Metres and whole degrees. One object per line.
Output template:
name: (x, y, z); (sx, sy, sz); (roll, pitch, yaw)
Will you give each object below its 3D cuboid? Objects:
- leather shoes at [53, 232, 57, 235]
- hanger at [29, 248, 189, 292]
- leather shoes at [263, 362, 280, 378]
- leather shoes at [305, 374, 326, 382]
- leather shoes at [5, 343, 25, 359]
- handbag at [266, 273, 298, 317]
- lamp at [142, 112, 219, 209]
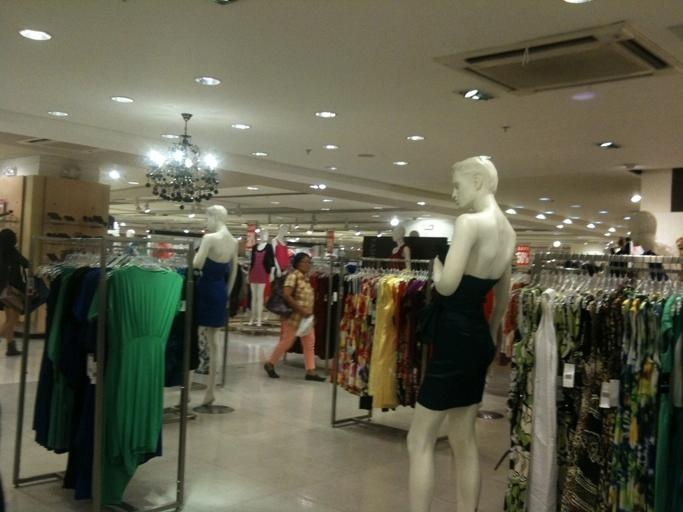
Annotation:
leather shoes: (-5.163, -0.412, 9.344); (0.085, 0.063, 0.301); (4, 0, -29)
hanger: (-1.557, 0.082, 3.551); (1.133, 0.239, 0.689); (4, 0, 43)
leather shoes: (-0.943, 1.566, 6.978); (0.124, 0.326, 0.118); (-15, 24, 11)
leather shoes: (-0.345, 1.639, 6.940); (0.283, 0.107, 0.105); (1, -3, 5)
leather shoes: (-4.814, 1.347, 7.584); (0.173, 0.226, 0.207); (3, 0, -32)
handbag: (-0.768, 0.518, 6.551); (0.364, 0.537, 0.142); (3, 0, 32)
lamp: (-2.353, -1.341, 7.983); (1.235, 1.803, 1.254); (2, -6, -6)
